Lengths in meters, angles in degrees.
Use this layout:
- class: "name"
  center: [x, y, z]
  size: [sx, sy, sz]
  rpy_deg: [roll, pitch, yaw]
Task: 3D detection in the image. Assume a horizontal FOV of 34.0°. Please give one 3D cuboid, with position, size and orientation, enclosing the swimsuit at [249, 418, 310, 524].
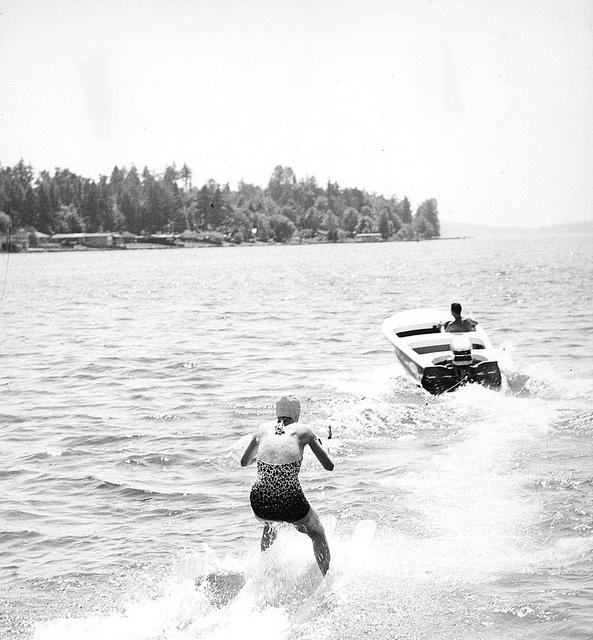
- class: "swimsuit"
  center: [-0.129, 1.259, 7.135]
  size: [0.312, 0.679, 0.509]
  rpy_deg: [2, -7, 9]

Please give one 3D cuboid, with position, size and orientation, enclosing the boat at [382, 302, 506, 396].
- class: "boat"
  center: [2.250, 0.491, 15.621]
  size: [1.335, 1.053, 3.528]
  rpy_deg: [-7, 14, -1]

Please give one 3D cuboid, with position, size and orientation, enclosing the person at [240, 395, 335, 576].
- class: "person"
  center: [-0.063, 1.328, 7.458]
  size: [0.621, 1.532, 0.717]
  rpy_deg: [4, 8, 20]

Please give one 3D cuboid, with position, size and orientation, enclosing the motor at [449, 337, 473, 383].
- class: "motor"
  center: [2.385, 0.578, 13.946]
  size: [0.306, 0.653, 0.304]
  rpy_deg: [0, 6, 10]
